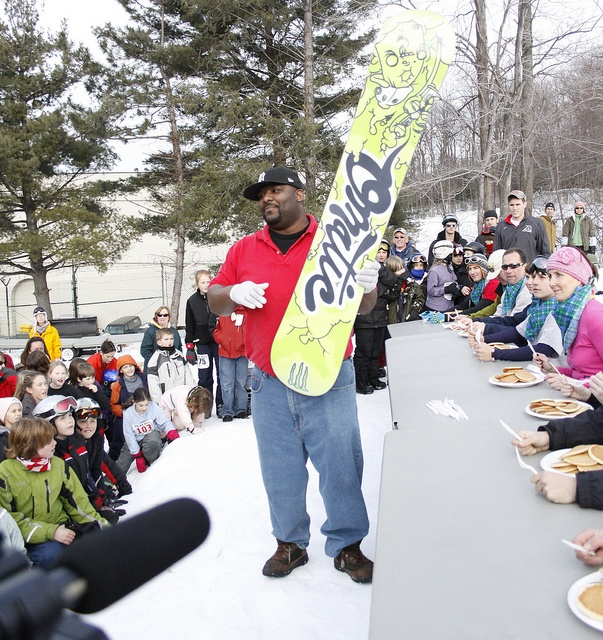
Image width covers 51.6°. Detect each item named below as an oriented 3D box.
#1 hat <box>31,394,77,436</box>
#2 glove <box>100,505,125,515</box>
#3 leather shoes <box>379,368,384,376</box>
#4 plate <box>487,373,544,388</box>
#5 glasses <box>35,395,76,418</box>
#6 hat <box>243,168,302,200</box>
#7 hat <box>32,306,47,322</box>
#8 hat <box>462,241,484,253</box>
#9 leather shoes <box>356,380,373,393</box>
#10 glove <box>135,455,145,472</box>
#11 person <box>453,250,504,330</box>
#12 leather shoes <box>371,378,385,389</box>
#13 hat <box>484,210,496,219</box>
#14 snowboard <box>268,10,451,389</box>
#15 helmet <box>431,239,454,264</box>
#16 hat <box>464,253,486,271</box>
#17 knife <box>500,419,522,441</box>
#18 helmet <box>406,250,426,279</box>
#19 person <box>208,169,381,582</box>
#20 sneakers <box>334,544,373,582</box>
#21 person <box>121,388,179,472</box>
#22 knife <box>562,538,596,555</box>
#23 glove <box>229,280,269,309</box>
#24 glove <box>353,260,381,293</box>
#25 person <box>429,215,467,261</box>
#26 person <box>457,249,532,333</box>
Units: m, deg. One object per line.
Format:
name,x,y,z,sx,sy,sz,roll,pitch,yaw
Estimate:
hat,-1.644,0.613,4.204,0.236,0.169,0.176,-14,0,11
glove,-1.386,1.398,4.622,0.112,0.031,0.073,27,2,4
leather shoes,1.073,0.686,8.290,0.102,0.126,0.052,0,0,-10
plate,1.157,0.324,3.337,0.289,0.039,0.208,-5,5,8
glasses,-1.653,0.577,4.170,0.185,0.072,0.160,-17,-3,19
hat,-0.137,-0.681,3.009,0.169,0.107,0.246,-6,-1,45
hat,-3.939,-0.096,9.344,0.194,0.233,0.254,0,4,-14
hat,2.108,-0.882,7.524,0.245,0.114,0.167,18,10,-2
leather shoes,0.763,0.790,7.496,0.106,0.120,0.297,2,16,-16
glove,-1.559,1.385,6.084,0.050,0.156,0.101,-16,1,30
person,1.843,-0.356,6.655,0.479,0.707,1.144,-1,5,18
leather shoes,0.985,0.792,7.737,0.102,0.125,0.199,-1,-3,-41
hat,2.856,-1.609,9.381,0.170,0.102,0.159,-1,-12,6
snowboard,0.308,-0.597,3.313,0.619,2.462,0.374,17,-8,5
helmet,1.730,-0.846,7.593,0.306,0.253,0.221,9,22,12
hat,1.902,-0.609,6.639,0.215,0.177,0.176,-11,-6,-33
knife,0.837,0.437,2.485,0.112,0.016,0.009,39,19,-1
helmet,1.538,-0.740,8.417,0.313,0.375,0.398,1,4,0
person,-0.049,0.298,3.061,1.014,1.987,0.735,-1,5,16
sneakers,0.268,1.194,3.105,0.234,0.150,0.088,4,4,41
person,-1.495,1.133,6.181,0.655,0.864,0.452,4,10,11
knife,0.718,0.591,1.619,0.017,0.021,0.096,20,3,-25
glove,-0.248,-0.119,2.981,0.190,0.142,0.215,-7,6,-6
glove,0.316,-0.204,2.985,0.120,0.154,0.110,-6,6,5
person,1.902,-0.961,8.054,0.520,0.814,0.360,2,-2,16
person,1.419,-0.255,5.395,0.875,0.749,0.498,-1,1,-14
